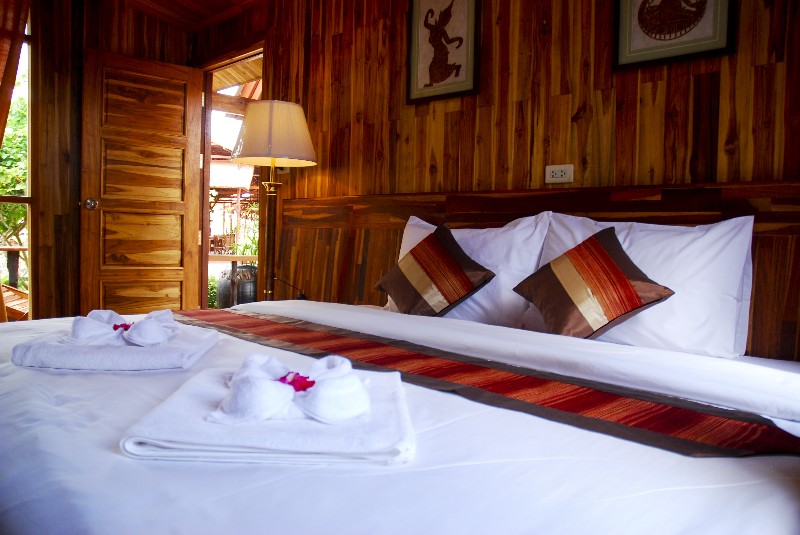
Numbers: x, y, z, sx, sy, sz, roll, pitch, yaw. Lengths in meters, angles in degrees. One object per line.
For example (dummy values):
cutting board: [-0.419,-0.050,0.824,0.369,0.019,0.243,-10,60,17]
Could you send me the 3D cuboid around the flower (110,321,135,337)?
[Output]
flower: [-0.995,0.215,1.819,0.059,0.024,0.060,3,20,3]
